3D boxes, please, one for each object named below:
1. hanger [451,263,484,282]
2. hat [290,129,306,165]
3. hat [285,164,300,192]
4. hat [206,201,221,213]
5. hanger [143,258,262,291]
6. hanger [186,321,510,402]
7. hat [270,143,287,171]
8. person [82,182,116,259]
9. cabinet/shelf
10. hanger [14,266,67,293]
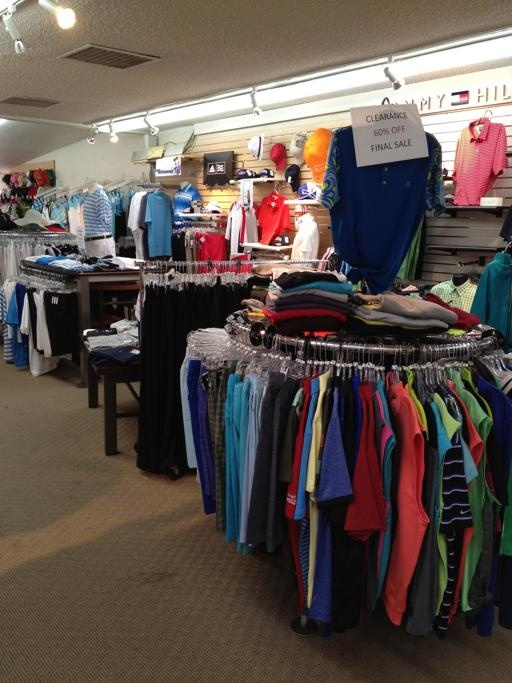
[{"bbox_3d":[1.934,-0.622,4.725,0.263,0.127,0.350,1,9,15],"label":"hanger"},{"bbox_3d":[0.508,-2.466,6.565,0.188,0.371,0.233,-3,1,-11],"label":"hat"},{"bbox_3d":[0.459,-2.134,6.734,0.220,0.343,0.280,-4,10,-26],"label":"hat"},{"bbox_3d":[-0.646,-2.052,7.928,0.217,0.197,0.322,-2,10,-15],"label":"hat"},{"bbox_3d":[-0.364,-0.476,3.635,0.626,0.174,1.013,3,10,16],"label":"hanger"},{"bbox_3d":[0.269,0.055,1.952,1.246,0.206,0.477,5,10,25],"label":"hanger"},{"bbox_3d":[0.300,-2.463,6.918,0.228,0.349,0.109,8,15,40],"label":"hat"},{"bbox_3d":[-2.111,-1.604,6.955,0.378,0.930,0.374,-3,9,-21],"label":"person"},{"bbox_3d":[1.936,-1.052,4.955,0.344,0.433,0.918,-5,11,-29],"label":"cabinet/shelf"},{"bbox_3d":[-2.442,-0.718,5.961,0.371,0.237,1.282,-6,11,-35],"label":"hanger"}]
